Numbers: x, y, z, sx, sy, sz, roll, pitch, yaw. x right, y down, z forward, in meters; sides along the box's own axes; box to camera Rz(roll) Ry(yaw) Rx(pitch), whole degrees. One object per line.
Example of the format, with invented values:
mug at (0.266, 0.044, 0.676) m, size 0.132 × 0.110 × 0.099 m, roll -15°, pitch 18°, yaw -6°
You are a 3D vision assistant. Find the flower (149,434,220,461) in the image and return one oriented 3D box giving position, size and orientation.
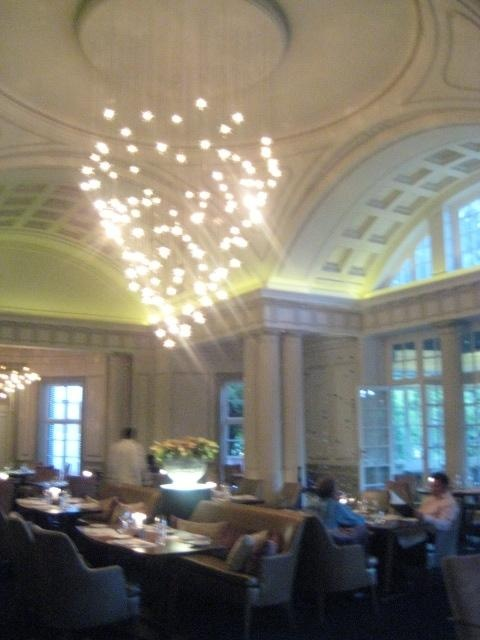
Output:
flower at (-0.644, 1.425, 6.515) m, size 0.650 × 0.235 × 0.607 m, roll 7°, pitch -14°, yaw -23°
